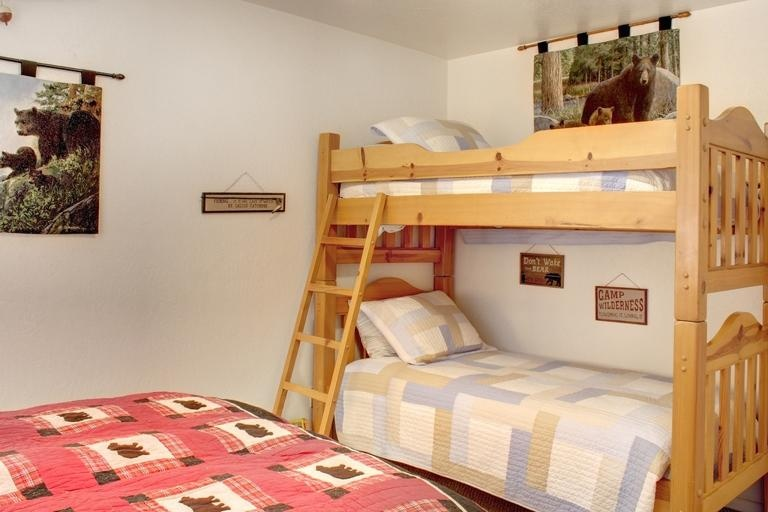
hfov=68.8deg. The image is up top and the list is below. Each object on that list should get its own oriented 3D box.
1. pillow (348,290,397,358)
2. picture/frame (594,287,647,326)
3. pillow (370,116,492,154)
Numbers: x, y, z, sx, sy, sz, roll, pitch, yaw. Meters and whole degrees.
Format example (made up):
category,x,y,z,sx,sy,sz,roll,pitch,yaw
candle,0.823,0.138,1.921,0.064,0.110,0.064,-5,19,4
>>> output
category,x,y,z,sx,sy,sz,roll,pitch,yaw
pillow,-0.072,0.619,4.106,0.456,0.391,0.117,18,11,38
picture/frame,1.688,0.408,3.962,0.313,0.235,0.024,0,-1,40
pillow,0.369,-0.762,3.692,0.509,0.128,0.401,3,40,-31
